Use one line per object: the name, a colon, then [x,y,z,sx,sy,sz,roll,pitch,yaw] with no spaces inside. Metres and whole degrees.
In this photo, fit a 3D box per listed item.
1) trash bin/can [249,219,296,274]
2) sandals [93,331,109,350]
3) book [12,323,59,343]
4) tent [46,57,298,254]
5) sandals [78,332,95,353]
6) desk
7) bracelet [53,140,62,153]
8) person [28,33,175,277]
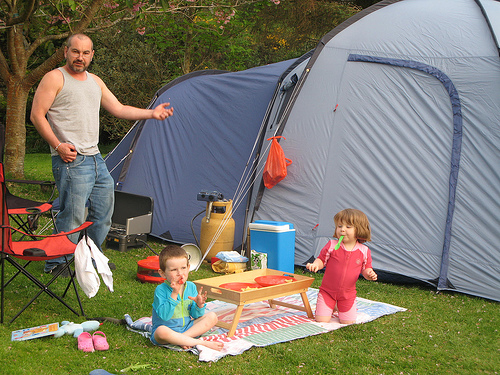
trash bin/can: [0.292,0.643,7.029,0.510,0.974,0.515,4,6,43]
sandals: [-1.263,1.267,5.020,0.099,0.069,0.178,-5,21,-25]
book: [-1.818,1.225,5.070,0.385,0.068,0.155,-4,16,-25]
tent: [-0.601,-0.426,8.735,3.330,2.341,2.250,-8,15,-31]
sandals: [-1.369,1.281,4.978,0.135,0.094,0.186,-2,15,-17]
desk: [0.032,1.056,5.665,1.020,0.407,0.689,-3,3,-41]
bracelet: [-1.872,-0.393,5.837,0.025,0.087,0.090,25,-29,3]
person: [-1.509,-0.476,6.060,1.106,2.853,0.994,1,0,41]
